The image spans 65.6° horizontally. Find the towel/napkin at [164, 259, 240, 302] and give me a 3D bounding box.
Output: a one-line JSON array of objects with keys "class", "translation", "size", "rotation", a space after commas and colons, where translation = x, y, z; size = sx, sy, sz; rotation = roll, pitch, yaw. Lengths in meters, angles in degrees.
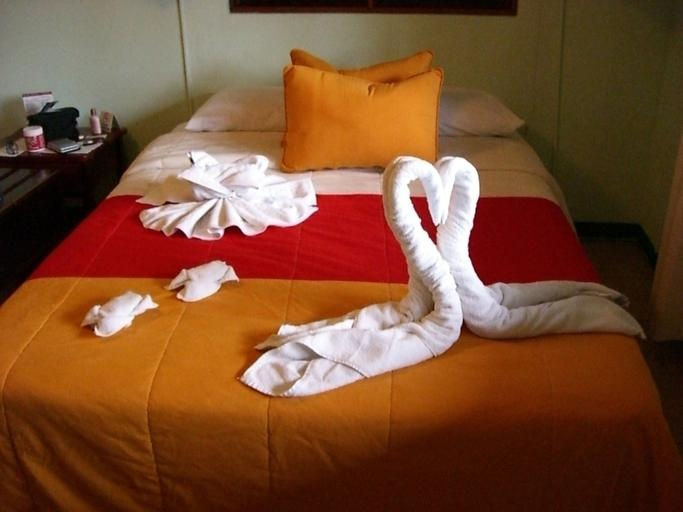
[{"class": "towel/napkin", "translation": [-0.416, 0.036, 1.596], "size": [0.117, 0.053, 0.150], "rotation": [22, 40, 32]}]

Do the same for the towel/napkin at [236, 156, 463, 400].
[{"class": "towel/napkin", "translation": [0.025, 0.035, 1.371], "size": [0.569, 0.558, 0.321], "rotation": [-8, 25, -18]}]

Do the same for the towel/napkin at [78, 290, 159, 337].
[{"class": "towel/napkin", "translation": [-0.631, 0.150, 1.493], "size": [0.108, 0.056, 0.148], "rotation": [8, 30, 32]}]
